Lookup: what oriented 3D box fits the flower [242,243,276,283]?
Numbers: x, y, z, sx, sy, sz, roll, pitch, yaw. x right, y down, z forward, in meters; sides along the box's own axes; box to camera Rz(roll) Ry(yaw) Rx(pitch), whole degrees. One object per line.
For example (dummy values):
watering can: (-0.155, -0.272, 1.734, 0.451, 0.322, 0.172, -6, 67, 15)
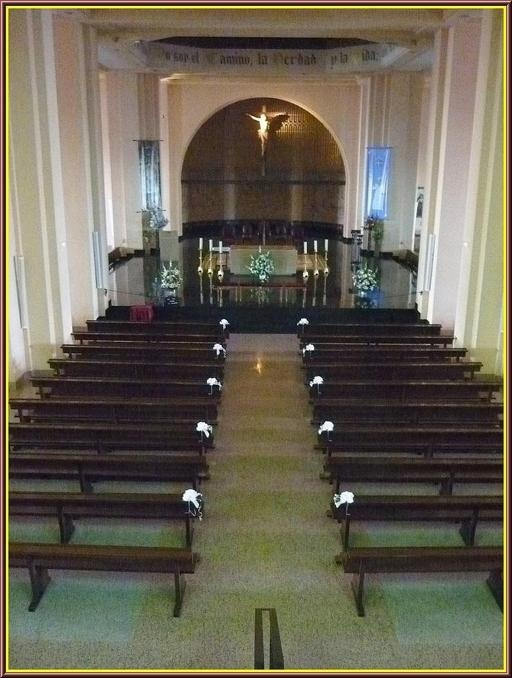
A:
flower: (0.138, -1.815, 13.309, 0.736, 0.876, 0.839, 4, 19, 9)
